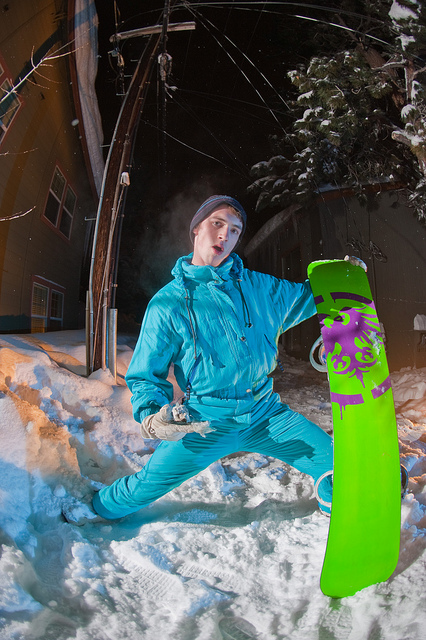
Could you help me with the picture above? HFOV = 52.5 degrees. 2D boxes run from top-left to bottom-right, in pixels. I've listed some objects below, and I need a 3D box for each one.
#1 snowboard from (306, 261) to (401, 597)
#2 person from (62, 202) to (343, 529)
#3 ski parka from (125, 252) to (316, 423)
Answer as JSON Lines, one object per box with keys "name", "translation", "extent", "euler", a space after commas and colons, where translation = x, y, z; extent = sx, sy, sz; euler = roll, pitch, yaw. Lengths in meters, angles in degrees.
{"name": "snowboard", "translation": [0.605, 0.410, 1.838], "extent": [0.302, 1.315, 0.190], "euler": [3, -18, -14]}
{"name": "person", "translation": [-0.022, 0.207, 2.184], "extent": [1.202, 1.541, 0.413], "euler": [1, 0, -9]}
{"name": "ski parka", "translation": [0.054, 0.075, 2.205], "extent": [0.958, 0.790, 0.325], "euler": [1, 0, -15]}
